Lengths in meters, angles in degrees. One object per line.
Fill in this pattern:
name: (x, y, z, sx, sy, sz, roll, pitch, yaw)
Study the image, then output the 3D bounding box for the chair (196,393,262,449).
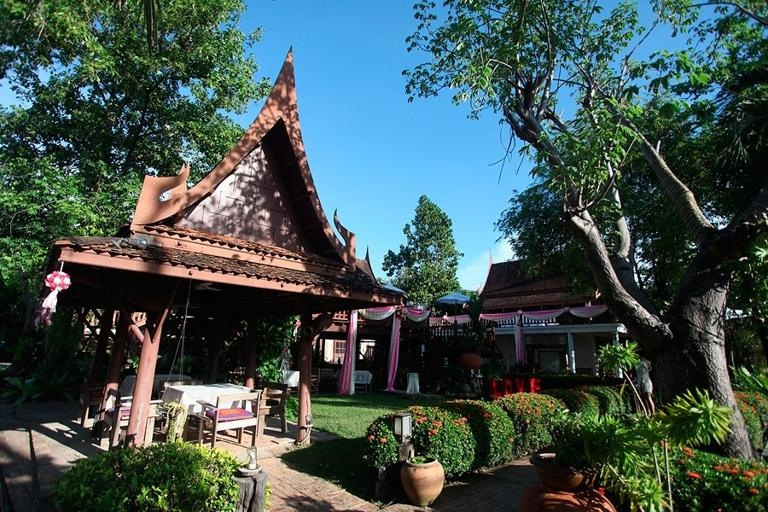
chair: (-3.980, 4.196, 12.099, 1.275, 1.152, 0.841, 10, -14, -44)

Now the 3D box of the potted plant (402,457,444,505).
potted plant: (0.841, 4.965, 10.552, 0.891, 0.856, 0.917, 0, -13, -7)

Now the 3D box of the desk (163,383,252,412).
desk: (-4.558, 3.575, 12.297, 1.433, 0.353, 0.948, 11, -14, -40)

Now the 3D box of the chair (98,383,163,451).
chair: (-6.213, 4.039, 11.797, 1.467, 1.965, 1.594, 4, -6, -32)

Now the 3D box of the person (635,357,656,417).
person: (8.467, 4.013, 15.251, 0.529, 1.504, 2.609, 7, 8, 29)

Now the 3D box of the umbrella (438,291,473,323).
umbrella: (5.205, 3.833, 34.901, 2.056, 1.485, 2.090, 13, -16, -31)
